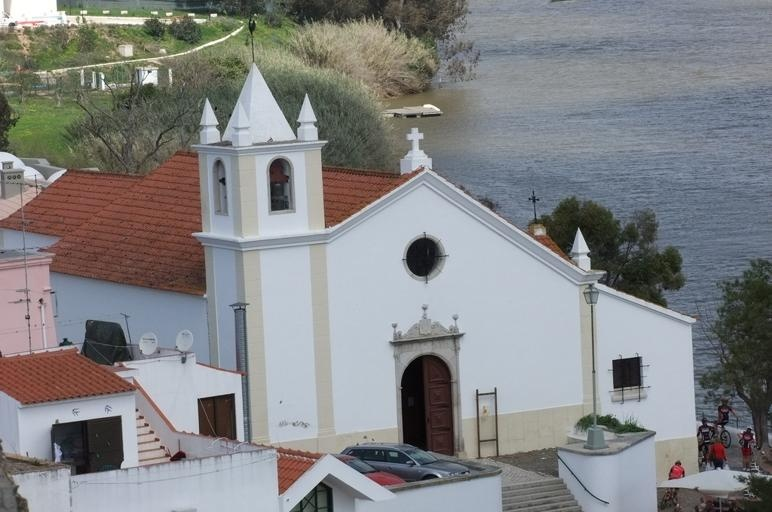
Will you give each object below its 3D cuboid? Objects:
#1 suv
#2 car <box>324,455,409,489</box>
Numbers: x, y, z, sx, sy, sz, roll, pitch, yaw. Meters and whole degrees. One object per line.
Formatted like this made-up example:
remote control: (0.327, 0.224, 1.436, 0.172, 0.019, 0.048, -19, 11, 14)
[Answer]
suv: (1.352, 14.862, 157.188, 7.806, 2.731, 3.582, 0, 1, 16)
car: (-1.534, 15.437, 155.647, 4.802, 1.697, 2.192, 4, 3, 21)
